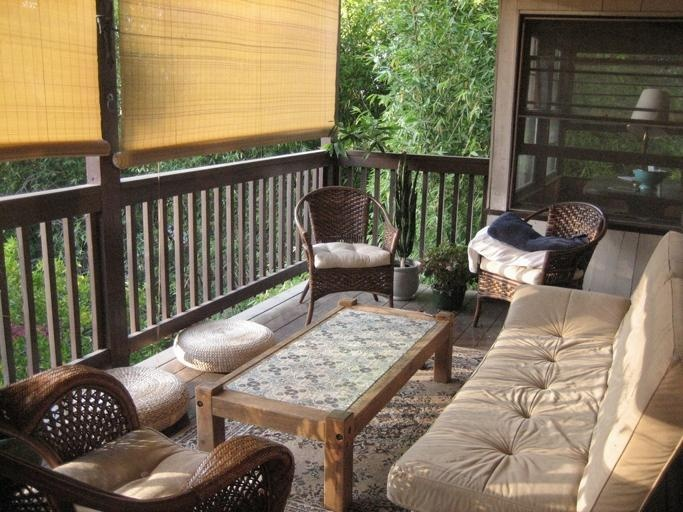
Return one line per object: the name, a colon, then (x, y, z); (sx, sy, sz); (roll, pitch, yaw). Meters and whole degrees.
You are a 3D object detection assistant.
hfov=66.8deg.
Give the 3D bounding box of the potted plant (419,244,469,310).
potted plant: (0.868, 0.147, 4.713); (0.507, 0.660, 0.581); (0, 12, 8)
